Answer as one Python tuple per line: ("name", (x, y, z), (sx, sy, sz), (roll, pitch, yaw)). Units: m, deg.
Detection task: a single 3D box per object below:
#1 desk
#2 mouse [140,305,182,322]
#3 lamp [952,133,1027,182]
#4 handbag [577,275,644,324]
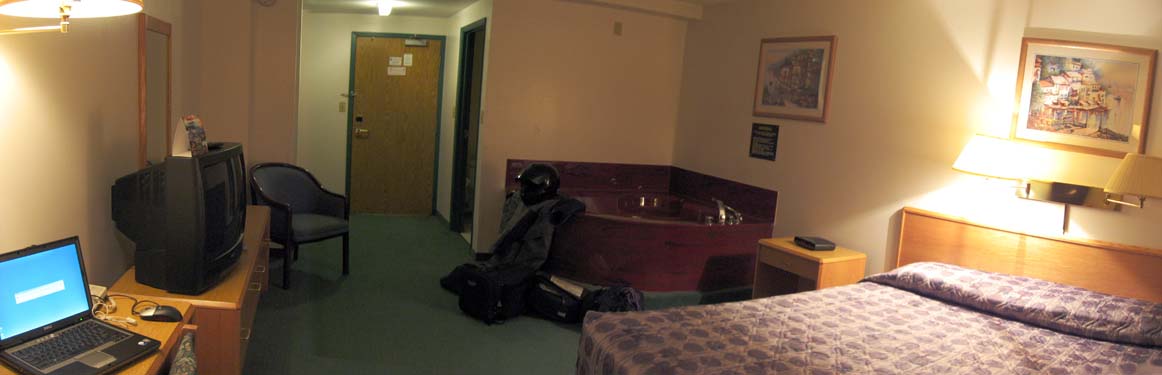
("desk", (3.702, 1.461, 10.292), (1.087, 0.840, 1.166), (-1, 9, -31))
("mouse", (-5.482, 1.669, 8.231), (0.504, 0.098, 0.227), (4, 8, -10))
("lamp", (6.221, -0.437, 9.514), (1.066, 0.697, 0.450), (6, 20, 14))
("handbag", (0.479, 1.782, 9.871), (0.967, 0.255, 0.632), (-2, 5, -19))
